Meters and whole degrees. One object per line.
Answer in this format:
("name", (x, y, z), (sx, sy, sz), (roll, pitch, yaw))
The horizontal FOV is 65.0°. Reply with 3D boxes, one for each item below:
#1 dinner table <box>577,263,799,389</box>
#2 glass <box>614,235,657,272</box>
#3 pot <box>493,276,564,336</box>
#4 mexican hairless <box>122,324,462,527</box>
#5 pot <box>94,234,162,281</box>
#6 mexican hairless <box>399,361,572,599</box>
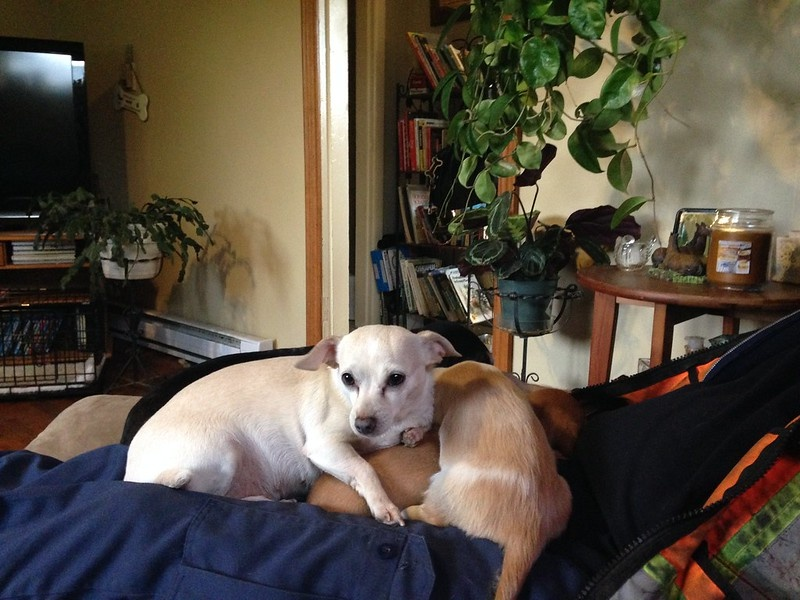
("dinner table", (0.856, 0.012, 1.959), (0.454, 0.519, 0.407), (-2, 12, -13))
("glass", (0.846, -0.177, 2.305), (0.145, 0.116, 0.109), (-26, 17, -25))
("pot", (0.489, 0.020, 2.430), (0.200, 0.181, 0.214), (0, -7, 0))
("mexican hairless", (-0.239, 0.271, 1.538), (0.679, 0.353, 0.422), (-4, 9, -1))
("pot", (-1.564, -0.221, 3.649), (0.241, 0.222, 0.288), (-1, -5, -2))
("mexican hairless", (0.157, 0.335, 1.348), (0.203, 0.271, 0.513), (-6, 17, -6))
